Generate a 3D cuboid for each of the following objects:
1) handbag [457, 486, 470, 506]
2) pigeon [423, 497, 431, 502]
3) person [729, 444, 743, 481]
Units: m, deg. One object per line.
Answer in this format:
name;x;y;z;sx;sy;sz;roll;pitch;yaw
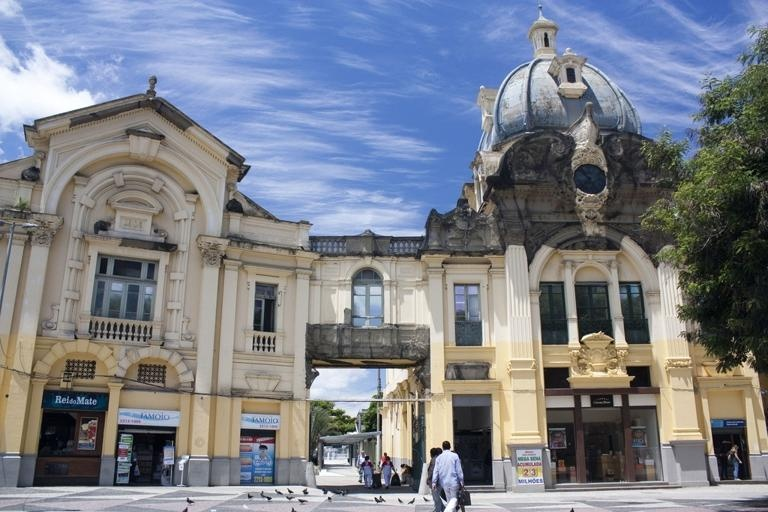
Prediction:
handbag;2.588;7.796;22.832;0.326;0.582;0.677;-5;-20;11
pigeon;1.957;10.876;31.395;0.236;0.273;0.728;1;-21;-6
person;19.338;11.310;38.661;0.618;1.913;1.199;-12;-23;26
